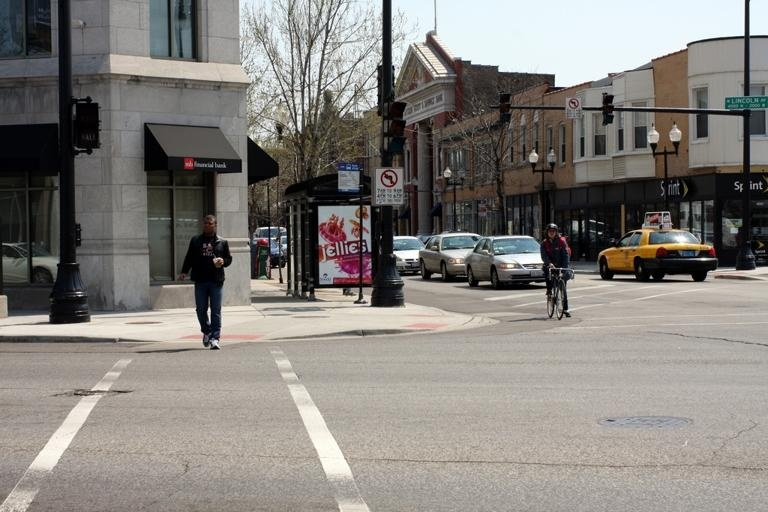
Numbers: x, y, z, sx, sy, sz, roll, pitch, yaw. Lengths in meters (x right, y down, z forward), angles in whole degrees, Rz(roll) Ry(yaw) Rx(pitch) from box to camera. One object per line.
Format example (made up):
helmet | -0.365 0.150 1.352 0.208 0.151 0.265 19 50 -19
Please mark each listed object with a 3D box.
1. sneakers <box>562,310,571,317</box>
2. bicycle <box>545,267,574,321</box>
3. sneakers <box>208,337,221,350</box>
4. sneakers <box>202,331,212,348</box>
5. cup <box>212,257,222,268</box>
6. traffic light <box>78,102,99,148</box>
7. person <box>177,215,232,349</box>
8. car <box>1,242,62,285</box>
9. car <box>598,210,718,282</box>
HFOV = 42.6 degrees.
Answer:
sneakers | 4.168 1.317 22.540 0.111 0.131 0.303 0 -4 -4
bicycle | 3.994 0.819 22.559 0.483 1.216 0.895 -2 0 1
sneakers | -3.100 1.597 17.989 0.170 0.195 0.448 1 -8 -14
sneakers | -3.220 1.534 17.975 0.178 0.266 0.081 -2 0 26
cup | -3.052 0.098 18.064 0.210 0.158 0.148 0 -2 -21
traffic light | -6.294 -2.802 20.964 0.443 1.062 0.350 -2 0 -15
person | -3.255 0.463 18.184 0.870 2.493 0.977 -2 0 -10
car | -8.647 0.146 24.778 1.977 0.752 0.884 -1 0 7
car | 9.377 -0.333 34.282 2.125 1.787 3.957 0 3 -19
